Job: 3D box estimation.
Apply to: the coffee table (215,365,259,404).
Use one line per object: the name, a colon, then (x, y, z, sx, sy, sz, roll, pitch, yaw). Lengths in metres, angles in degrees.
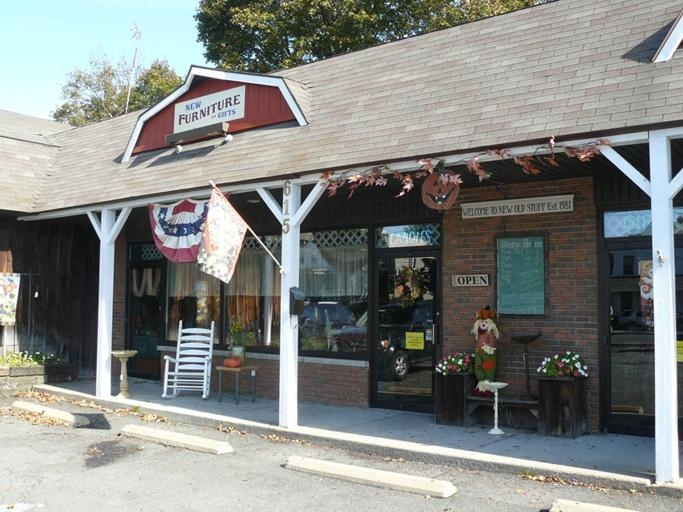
coffee table: (-2.243, 2.474, 13.588, 0.784, 0.580, 0.783, -10, -6, 39)

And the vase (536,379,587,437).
vase: (3.243, 2.254, 10.552, 0.594, 0.875, 0.256, -1, -7, 4)

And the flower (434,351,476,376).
flower: (1.793, 1.758, 11.474, 0.412, 0.237, 0.407, 1, -4, -32)

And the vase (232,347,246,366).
vase: (-1.999, 1.945, 13.648, 0.314, 0.369, 0.312, -1, -4, 17)

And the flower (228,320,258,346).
flower: (-2.071, 1.588, 14.521, 0.551, 0.386, 0.533, 1, 1, 26)

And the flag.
flag: (-1.957, -0.390, 11.408, 0.192, 1.441, 1.186, -11, -36, 29)

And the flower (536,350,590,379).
flower: (3.381, 1.664, 10.795, 0.751, 0.415, 0.537, -2, -8, 17)

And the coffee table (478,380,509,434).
coffee table: (2.384, 2.349, 10.924, 0.537, 0.732, 0.507, 3, -10, -24)

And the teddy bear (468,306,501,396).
teddy bear: (2.353, 1.531, 11.479, 0.544, 1.346, 0.526, 3, -11, 12)

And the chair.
chair: (-3.128, 2.136, 14.268, 1.068, 1.711, 0.971, 2, -6, -17)
